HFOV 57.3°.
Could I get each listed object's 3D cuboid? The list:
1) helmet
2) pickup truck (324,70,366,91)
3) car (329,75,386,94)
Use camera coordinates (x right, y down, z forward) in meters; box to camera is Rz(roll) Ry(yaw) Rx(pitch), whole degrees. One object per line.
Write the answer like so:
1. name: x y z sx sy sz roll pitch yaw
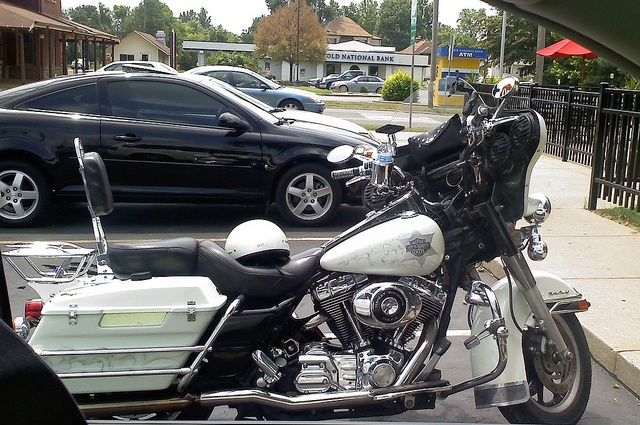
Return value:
1. helmet: -0.409 0.188 3.797 0.362 0.276 0.261 1 -9 -3
2. pickup truck: 2.216 -11.913 52.634 2.841 1.422 1.709 1 12 -2
3. car: 3.420 -11.138 51.286 4.229 1.376 1.999 1 7 -2
